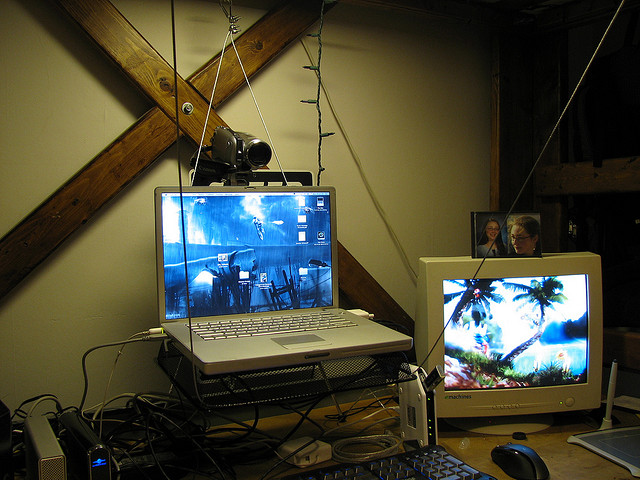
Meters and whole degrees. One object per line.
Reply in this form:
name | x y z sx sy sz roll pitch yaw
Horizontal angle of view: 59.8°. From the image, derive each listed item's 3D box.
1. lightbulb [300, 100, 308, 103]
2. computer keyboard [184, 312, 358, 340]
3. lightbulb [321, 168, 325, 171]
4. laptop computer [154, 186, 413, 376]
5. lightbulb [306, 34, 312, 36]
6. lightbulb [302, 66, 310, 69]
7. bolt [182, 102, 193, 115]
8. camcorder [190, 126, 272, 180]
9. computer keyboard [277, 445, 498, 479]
lightbulb | -0.062 -0.544 2.178 0.025 0.009 0.014 -1 5 3
computer keyboard | -0.135 0.245 1.625 0.464 0.019 0.172 -3 5 -16
lightbulb | 0.010 -0.283 2.210 0.012 0.010 0.015 16 16 31
laptop computer | -0.112 0.061 1.556 0.598 0.431 0.494 -1 4 -28
lightbulb | -0.043 -0.797 2.162 0.028 0.008 0.006 -12 30 -22
lightbulb | -0.054 -0.674 2.174 0.025 0.009 0.010 -1 5 12
bolt | -0.473 -0.467 1.970 0.040 0.041 0.012 -9 11 -28
camcorder | -0.279 -0.280 1.751 0.191 0.199 0.194 -1 -3 12
computer keyboard | 0.177 0.613 1.474 0.546 0.042 0.139 -3 5 -12
